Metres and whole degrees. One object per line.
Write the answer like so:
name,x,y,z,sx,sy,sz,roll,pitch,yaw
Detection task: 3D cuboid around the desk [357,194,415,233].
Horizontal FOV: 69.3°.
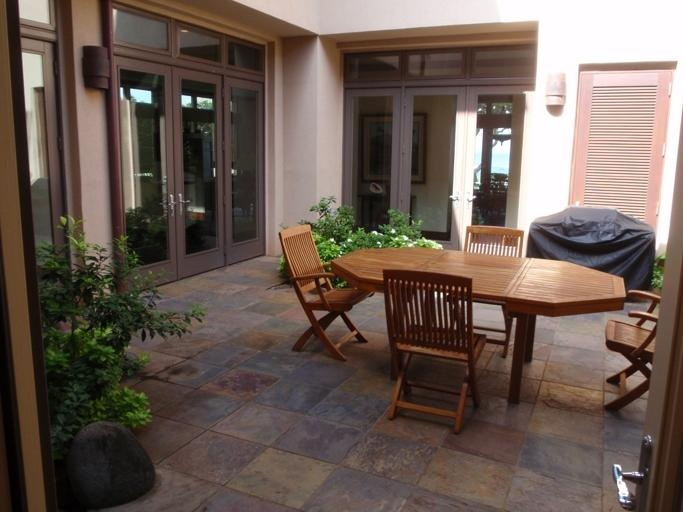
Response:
desk,0.821,-0.797,8.780,0.752,0.663,0.241,8,18,30

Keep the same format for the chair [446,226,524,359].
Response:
chair,1.571,0.272,5.402,0.759,1.024,0.825,1,49,18

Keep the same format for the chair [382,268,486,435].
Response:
chair,0.673,0.598,3.598,0.703,1.131,0.633,6,15,18
